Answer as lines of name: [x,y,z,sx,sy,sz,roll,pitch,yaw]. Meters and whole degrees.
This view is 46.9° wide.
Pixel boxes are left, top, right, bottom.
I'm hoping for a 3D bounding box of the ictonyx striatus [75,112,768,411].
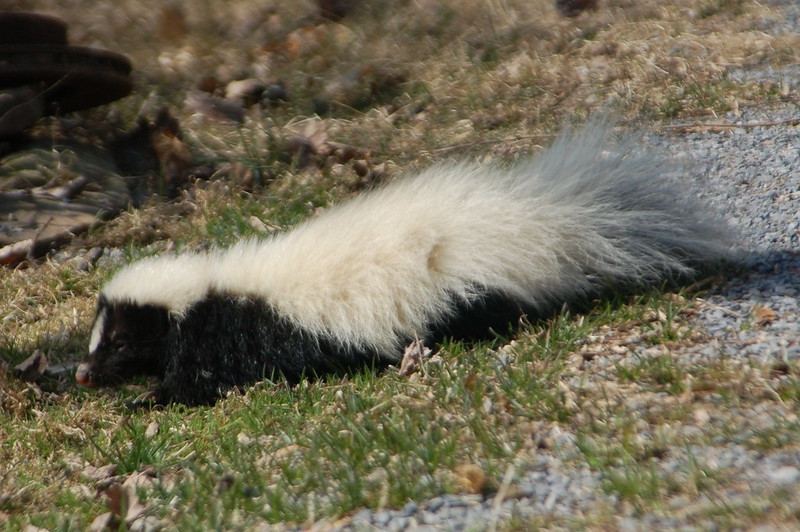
ictonyx striatus: [0.041,0.054,6.847,4.569,1.113,1.020,-14,21,0]
